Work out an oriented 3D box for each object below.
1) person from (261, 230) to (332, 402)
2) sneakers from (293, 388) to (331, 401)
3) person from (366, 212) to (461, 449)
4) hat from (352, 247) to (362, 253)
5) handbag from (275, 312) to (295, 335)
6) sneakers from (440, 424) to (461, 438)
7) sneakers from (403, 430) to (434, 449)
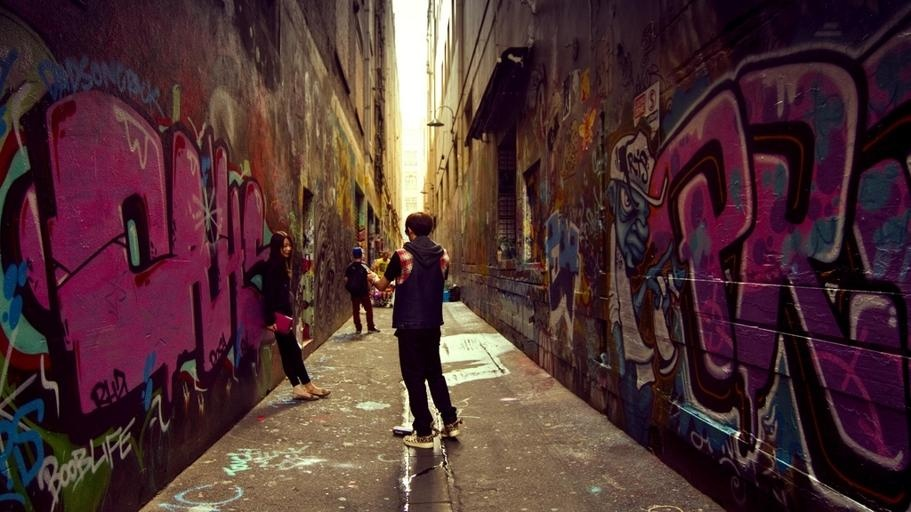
[{"bbox_3d":[-2.176,0.757,8.118,0.692,2.136,1.064,-2,9,-18],"label":"person"},{"bbox_3d":[-1.853,1.765,7.906,0.455,0.217,0.174,1,-1,-14],"label":"sneakers"},{"bbox_3d":[-0.358,0.775,6.844,0.731,2.447,0.814,-6,10,-39],"label":"person"},{"bbox_3d":[-1.911,-0.096,11.989,0.132,0.144,0.386,0,9,-1],"label":"hat"},{"bbox_3d":[-2.125,0.847,7.685,0.217,0.221,0.189,8,-3,-9],"label":"handbag"},{"bbox_3d":[-0.051,1.946,6.857,0.208,0.183,0.106,0,-3,5],"label":"sneakers"},{"bbox_3d":[-0.395,1.993,6.685,0.322,0.165,0.151,2,-2,18],"label":"sneakers"}]
